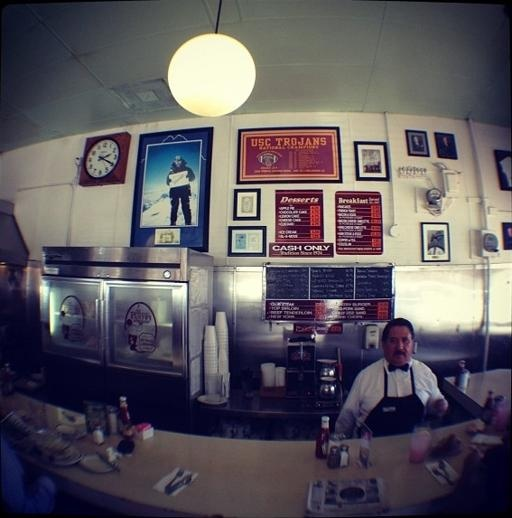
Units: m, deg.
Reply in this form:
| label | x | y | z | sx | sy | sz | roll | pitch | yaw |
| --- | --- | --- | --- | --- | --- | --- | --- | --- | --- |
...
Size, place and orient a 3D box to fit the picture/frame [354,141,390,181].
| label | x | y | z | sx | sy | sz | roll | pitch | yaw |
| --- | --- | --- | --- | --- | --- | --- | --- | --- | --- |
| picture/frame | 0.989 | -0.828 | 3.752 | 0.316 | 0.385 | 0.027 | 0 | -8 | 0 |

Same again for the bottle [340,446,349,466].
| label | x | y | z | sx | sy | sz | roll | pitch | yaw |
| --- | --- | --- | --- | --- | --- | --- | --- | --- | --- |
| bottle | 0.543 | 1.175 | 2.640 | 0.040 | 0.122 | 0.132 | -1 | -3 | 26 |

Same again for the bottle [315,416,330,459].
| label | x | y | z | sx | sy | sz | roll | pitch | yaw |
| --- | --- | --- | --- | --- | --- | --- | --- | --- | --- |
| bottle | 0.408 | 1.083 | 2.690 | 0.091 | 0.255 | 0.141 | 1 | -3 | 4 |

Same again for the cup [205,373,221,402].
| label | x | y | z | sx | sy | sz | roll | pitch | yaw |
| --- | --- | --- | --- | --- | --- | --- | --- | --- | --- |
| cup | -0.330 | 0.979 | 3.332 | 0.150 | 0.246 | 0.143 | 0 | -7 | 0 |

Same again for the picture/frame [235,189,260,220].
| label | x | y | z | sx | sy | sz | roll | pitch | yaw |
| --- | --- | --- | --- | --- | --- | --- | --- | --- | --- |
| picture/frame | -0.073 | -0.460 | 3.744 | 0.241 | 0.295 | 0.019 | 1 | -6 | 0 |

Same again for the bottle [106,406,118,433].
| label | x | y | z | sx | sy | sz | roll | pitch | yaw |
| --- | --- | --- | --- | --- | --- | --- | --- | --- | --- |
| bottle | -0.923 | 1.035 | 2.809 | 0.082 | 0.179 | 0.042 | 2 | -4 | -21 |

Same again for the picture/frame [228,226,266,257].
| label | x | y | z | sx | sy | sz | roll | pitch | yaw |
| --- | --- | --- | --- | --- | --- | --- | --- | --- | --- |
| picture/frame | -0.067 | -0.149 | 3.710 | 0.242 | 0.218 | 0.019 | 0 | -5 | 2 |

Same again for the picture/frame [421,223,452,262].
| label | x | y | z | sx | sy | sz | roll | pitch | yaw |
| --- | --- | --- | --- | --- | --- | --- | --- | --- | --- |
| picture/frame | 1.509 | -0.131 | 3.662 | 0.293 | 0.436 | 0.020 | 0 | -4 | 0 |

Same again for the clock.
| label | x | y | z | sx | sy | sz | roll | pitch | yaw |
| --- | --- | --- | --- | --- | --- | --- | --- | --- | --- |
| clock | -1.366 | -0.900 | 3.978 | 0.460 | 0.492 | 0.081 | -1 | -11 | 16 |

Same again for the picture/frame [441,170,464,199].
| label | x | y | z | sx | sy | sz | roll | pitch | yaw |
| --- | --- | --- | --- | --- | --- | --- | --- | --- | --- |
| picture/frame | 1.644 | -0.622 | 3.662 | 0.215 | 0.280 | 0.137 | 1 | -4 | -2 |

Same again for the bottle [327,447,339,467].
| label | x | y | z | sx | sy | sz | roll | pitch | yaw |
| --- | --- | --- | --- | --- | --- | --- | --- | --- | --- |
| bottle | 0.458 | 1.169 | 2.579 | 0.074 | 0.132 | 0.033 | 1 | -3 | 6 |

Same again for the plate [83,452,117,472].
| label | x | y | z | sx | sy | sz | roll | pitch | yaw |
| --- | --- | --- | --- | --- | --- | --- | --- | --- | --- |
| plate | -0.922 | 1.200 | 2.554 | 0.241 | 0.068 | 0.124 | -1 | -3 | 36 |

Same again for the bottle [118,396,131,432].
| label | x | y | z | sx | sy | sz | roll | pitch | yaw |
| --- | --- | --- | --- | --- | --- | --- | --- | --- | --- |
| bottle | -0.857 | 0.988 | 2.845 | 0.068 | 0.195 | 0.188 | 2 | -3 | -22 |

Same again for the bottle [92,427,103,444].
| label | x | y | z | sx | sy | sz | roll | pitch | yaw |
| --- | --- | --- | --- | --- | --- | --- | --- | --- | --- |
| bottle | -0.979 | 1.106 | 2.741 | 0.076 | 0.092 | 0.062 | 4 | -4 | -44 |

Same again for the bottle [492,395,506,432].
| label | x | y | z | sx | sy | sz | roll | pitch | yaw |
| --- | --- | --- | --- | --- | --- | --- | --- | --- | --- |
| bottle | 1.529 | 0.971 | 2.749 | 0.082 | 0.196 | 0.110 | -1 | -4 | 31 |

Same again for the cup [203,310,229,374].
| label | x | y | z | sx | sy | sz | roll | pitch | yaw |
| --- | --- | --- | --- | --- | --- | --- | --- | --- | --- |
| cup | -0.288 | 0.648 | 3.418 | 0.169 | 0.463 | 0.211 | -1 | -3 | 24 |
